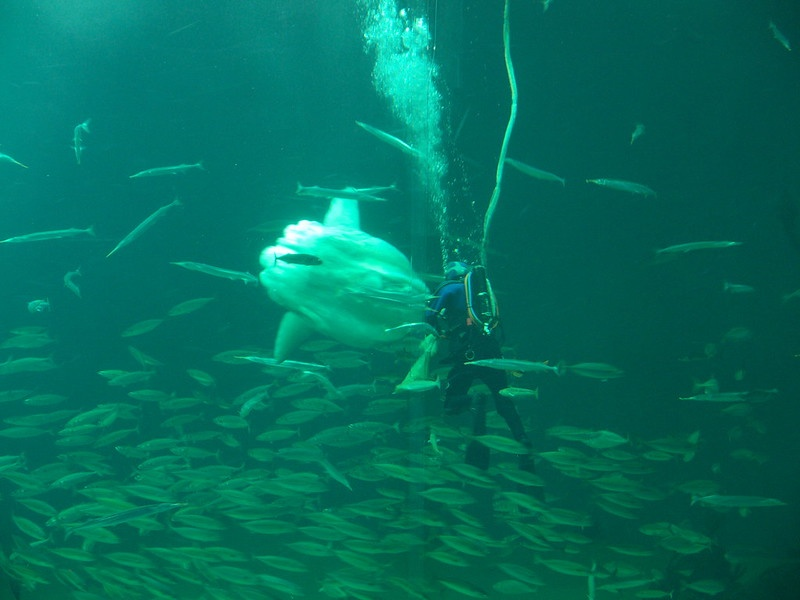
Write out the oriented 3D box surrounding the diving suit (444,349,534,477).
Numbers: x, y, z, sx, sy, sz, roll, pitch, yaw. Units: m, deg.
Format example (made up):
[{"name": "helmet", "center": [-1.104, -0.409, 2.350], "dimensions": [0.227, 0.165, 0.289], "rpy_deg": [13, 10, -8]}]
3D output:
[{"name": "diving suit", "center": [0.552, 0.662, 7.613], "dimensions": [0.564, 1.178, 0.362], "rpy_deg": [-14, 1, -21]}]
